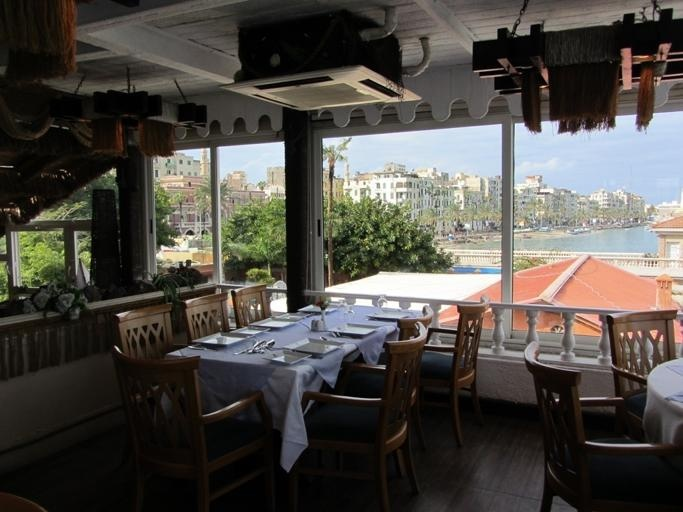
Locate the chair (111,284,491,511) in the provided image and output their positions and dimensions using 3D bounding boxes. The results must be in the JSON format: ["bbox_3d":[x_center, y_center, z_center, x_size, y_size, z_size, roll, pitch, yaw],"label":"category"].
[{"bbox_3d":[0.061,1.049,3.800,2.876,1.258,1.241,-9,9,-42],"label":"chair"}]

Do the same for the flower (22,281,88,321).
[{"bbox_3d":[-2.390,0.367,4.393,0.325,0.248,0.336,-1,-4,-7],"label":"flower"}]

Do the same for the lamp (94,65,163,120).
[{"bbox_3d":[-1.715,-1.299,4.159,0.310,0.313,0.315,8,9,41],"label":"lamp"}]

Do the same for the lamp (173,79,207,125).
[{"bbox_3d":[-1.443,-1.386,5.022,0.248,0.233,0.311,-6,7,-22],"label":"lamp"}]
